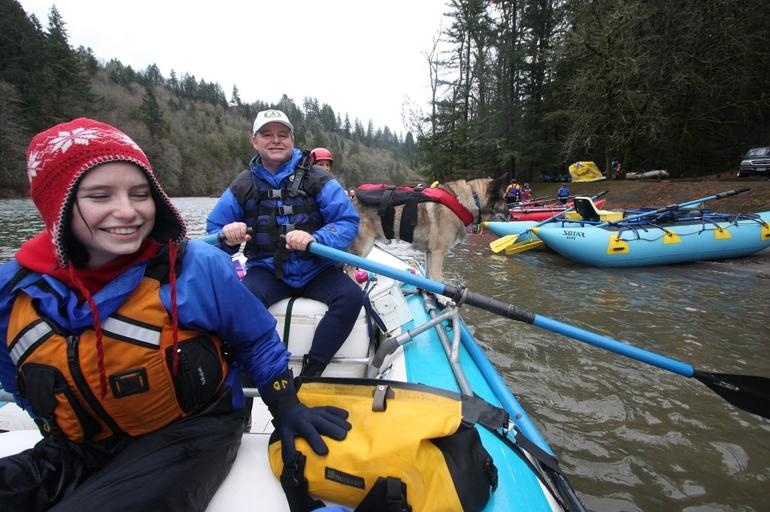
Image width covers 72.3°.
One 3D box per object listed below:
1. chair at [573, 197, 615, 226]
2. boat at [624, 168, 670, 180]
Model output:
[{"bbox_3d":[4.890,-1.027,12.061,0.970,0.441,0.571,-9,14,-32],"label":"chair"},{"bbox_3d":[11.314,-3.441,22.527,1.271,0.417,1.939,-7,13,-27],"label":"boat"}]
